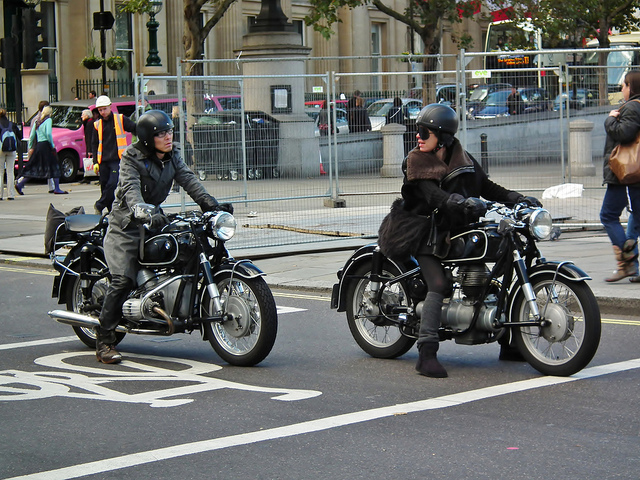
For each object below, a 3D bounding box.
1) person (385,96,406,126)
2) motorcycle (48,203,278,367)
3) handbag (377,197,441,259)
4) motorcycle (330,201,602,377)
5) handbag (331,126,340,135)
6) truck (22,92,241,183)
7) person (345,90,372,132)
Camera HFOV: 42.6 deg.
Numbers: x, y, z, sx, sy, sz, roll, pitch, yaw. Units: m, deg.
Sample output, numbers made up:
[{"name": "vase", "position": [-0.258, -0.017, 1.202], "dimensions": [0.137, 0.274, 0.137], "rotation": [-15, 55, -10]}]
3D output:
[{"name": "person", "position": [1.291, -2.221, 13.990], "dimensions": [0.355, 0.493, 0.830], "rotation": [-1, 8, 6]}, {"name": "motorcycle", "position": [-1.515, 0.349, 7.390], "dimensions": [2.480, 1.331, 1.006], "rotation": [5, 9, 31]}, {"name": "handbag", "position": [0.742, -0.062, 6.941], "dimensions": [0.500, 0.525, 0.392], "rotation": [17, 13, 13]}, {"name": "motorcycle", "position": [1.119, 0.339, 6.850], "dimensions": [2.359, 1.379, 0.852], "rotation": [2, -5, 35]}, {"name": "handbag", "position": [0.279, -2.010, 15.044], "dimensions": [0.142, 0.073, 0.203], "rotation": [0, 2, 0]}, {"name": "truck", "position": [-4.956, -2.841, 22.398], "dimensions": [1.713, 1.860, 4.897], "rotation": [-2, 3, -44]}, {"name": "person", "position": [0.728, -2.356, 14.907], "dimensions": [0.262, 0.766, 0.654], "rotation": [-6, 9, -28]}]
